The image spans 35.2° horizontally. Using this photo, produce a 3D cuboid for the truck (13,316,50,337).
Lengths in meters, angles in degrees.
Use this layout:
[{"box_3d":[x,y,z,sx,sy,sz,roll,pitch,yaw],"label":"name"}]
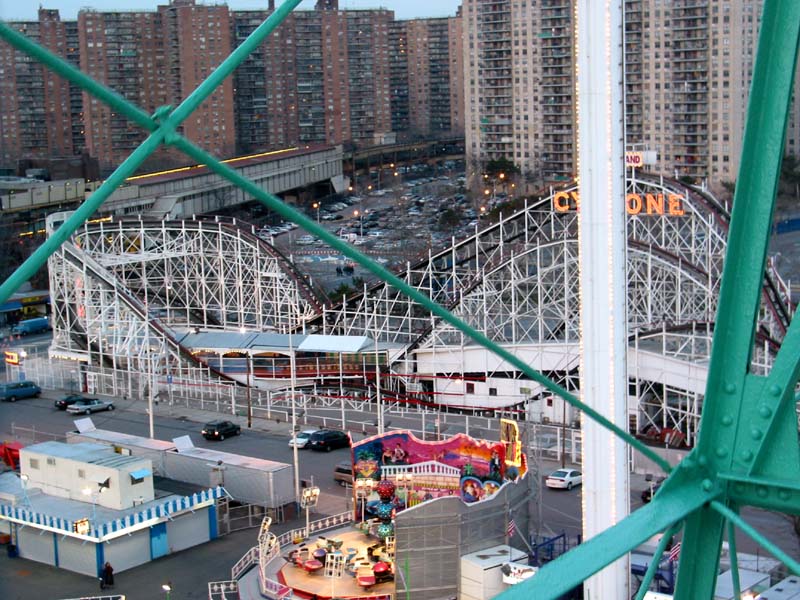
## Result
[{"box_3d":[-14.002,0.995,47.606,1.535,0.648,1.113,-2,3,-35],"label":"truck"}]
